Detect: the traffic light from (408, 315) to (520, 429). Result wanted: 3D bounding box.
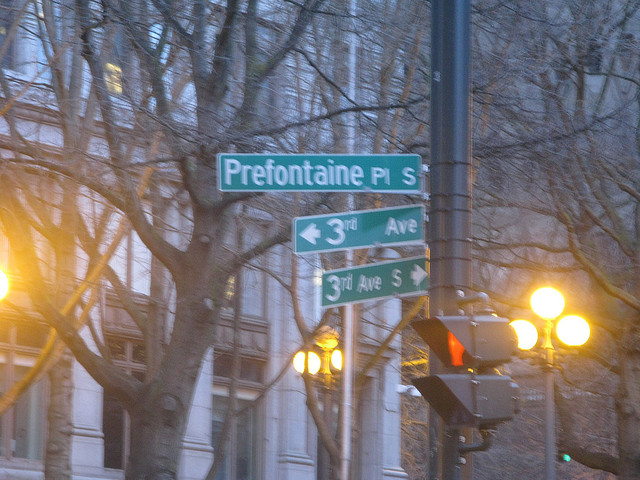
[{"bbox_3d":[1.492,1.342,12.164,1.107,1.081,0.694,2,-8,-11],"label":"traffic light"}]

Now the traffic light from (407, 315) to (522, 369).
[{"bbox_3d":[1.528,1.034,12.100,1.024,0.490,0.611,1,-7,-30],"label":"traffic light"}]

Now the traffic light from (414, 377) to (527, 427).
[{"bbox_3d":[1.502,1.622,12.072,0.820,0.416,0.553,1,-9,-16],"label":"traffic light"}]
